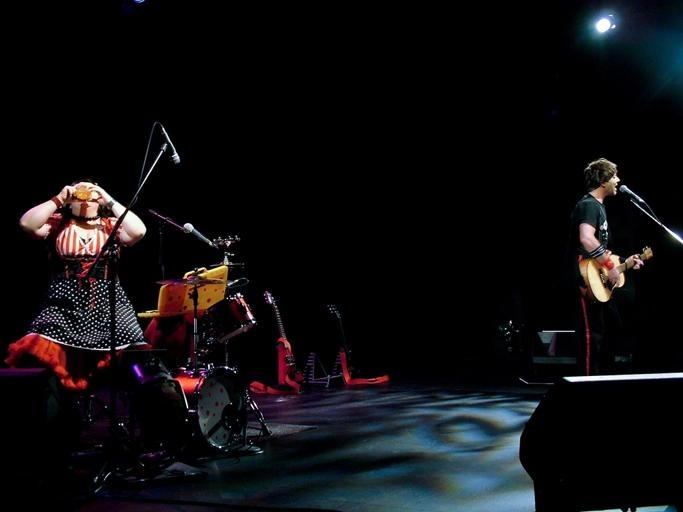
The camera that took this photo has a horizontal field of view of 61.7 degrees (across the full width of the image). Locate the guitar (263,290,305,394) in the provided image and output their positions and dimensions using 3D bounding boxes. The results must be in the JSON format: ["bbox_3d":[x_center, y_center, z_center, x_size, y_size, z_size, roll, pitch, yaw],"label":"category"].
[{"bbox_3d":[-0.773,1.160,8.044,0.503,1.380,1.460,0,-5,-5],"label":"guitar"}]

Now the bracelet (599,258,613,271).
[{"bbox_3d":[2.137,0.061,4.572,0.098,0.109,0.068,-3,-6,22],"label":"bracelet"}]

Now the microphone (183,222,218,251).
[{"bbox_3d":[-1.606,-0.212,6.509,0.481,0.119,0.130,41,-4,-40],"label":"microphone"}]

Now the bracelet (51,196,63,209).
[{"bbox_3d":[-1.799,-0.346,3.636,0.068,0.075,0.049,4,-7,-42],"label":"bracelet"}]

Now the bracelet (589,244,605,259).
[{"bbox_3d":[2.043,-0.035,4.567,0.103,0.039,0.088,-30,-1,3],"label":"bracelet"}]

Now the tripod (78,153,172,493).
[{"bbox_3d":[-1.390,0.312,3.695,0.477,2.193,0.476,1,-6,-18],"label":"tripod"}]

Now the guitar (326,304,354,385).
[{"bbox_3d":[-0.021,1.354,9.018,0.398,1.187,1.095,-1,-5,0],"label":"guitar"}]

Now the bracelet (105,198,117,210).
[{"bbox_3d":[-1.526,-0.344,3.813,0.050,0.071,0.023,6,-1,11],"label":"bracelet"}]

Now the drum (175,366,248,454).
[{"bbox_3d":[-0.944,1.112,4.105,0.245,0.603,0.730,-3,-6,24],"label":"drum"}]

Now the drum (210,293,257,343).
[{"bbox_3d":[-0.944,0.537,5.003,0.372,0.432,0.216,0,-5,-9],"label":"drum"}]
